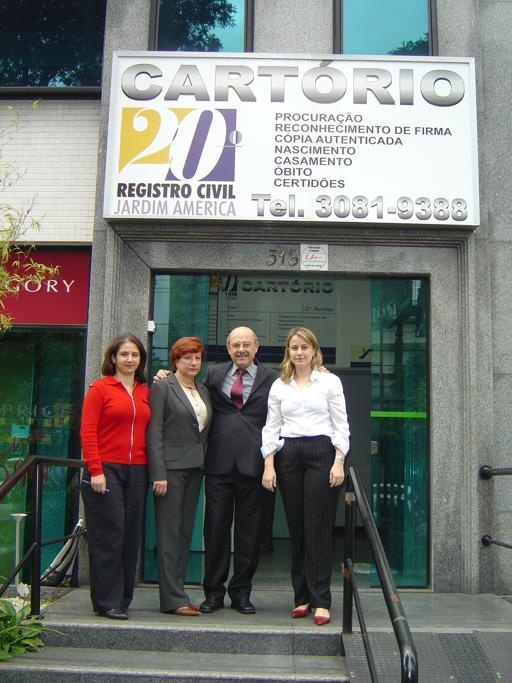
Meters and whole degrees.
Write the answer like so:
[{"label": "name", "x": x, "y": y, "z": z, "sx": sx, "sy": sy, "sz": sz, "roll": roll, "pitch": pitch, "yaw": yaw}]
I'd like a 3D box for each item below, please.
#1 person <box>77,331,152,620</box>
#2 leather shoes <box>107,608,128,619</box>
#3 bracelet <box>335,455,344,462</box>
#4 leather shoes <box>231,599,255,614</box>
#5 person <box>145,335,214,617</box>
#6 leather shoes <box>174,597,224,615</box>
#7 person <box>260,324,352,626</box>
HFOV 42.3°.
[{"label": "person", "x": -0.824, "y": 0.772, "z": 3.900, "sx": 0.425, "sy": 1.624, "sz": 0.341, "roll": 3, "pitch": -5, "yaw": -24}, {"label": "leather shoes", "x": -0.773, "y": 1.531, "z": 3.739, "sx": 0.143, "sy": 0.056, "sz": 0.048, "roll": -15, "pitch": -21, "yaw": 42}, {"label": "bracelet", "x": 0.475, "y": 0.666, "z": 3.779, "sx": 0.039, "sy": 0.024, "sz": 0.046, "roll": 0, "pitch": -5, "yaw": 4}, {"label": "leather shoes", "x": -0.079, "y": 1.609, "z": 4.029, "sx": 0.061, "sy": 0.070, "sz": 0.165, "roll": 7, "pitch": -17, "yaw": -31}, {"label": "person", "x": -0.471, "y": 0.796, "z": 4.053, "sx": 0.377, "sy": 1.642, "sz": 0.350, "roll": 1, "pitch": -4, "yaw": -4}, {"label": "leather shoes", "x": -0.335, "y": 1.585, "z": 3.975, "sx": 0.290, "sy": 0.122, "sz": 0.101, "roll": 21, "pitch": -26, "yaw": -39}, {"label": "person", "x": 0.258, "y": 0.757, "z": 3.862, "sx": 0.531, "sy": 1.682, "sz": 0.344, "roll": 0, "pitch": -5, "yaw": 17}]
